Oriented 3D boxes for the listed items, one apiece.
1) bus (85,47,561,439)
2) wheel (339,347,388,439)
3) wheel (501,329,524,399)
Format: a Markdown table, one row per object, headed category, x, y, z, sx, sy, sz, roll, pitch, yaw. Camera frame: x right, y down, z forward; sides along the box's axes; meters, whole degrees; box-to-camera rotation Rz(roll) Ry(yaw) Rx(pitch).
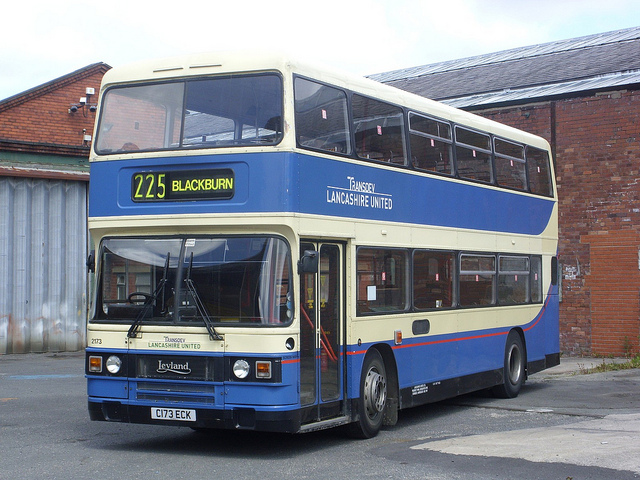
| category | x | y | z | sx | sy | sz | roll | pitch | yaw |
| --- | --- | --- | --- | --- | --- | --- | --- | --- | --- |
| bus | 0.721 | 0.344 | 13.209 | 4.204 | 5.686 | 11.811 | -2 | -4 | 35 |
| wheel | 0.617 | 2.251 | 9.293 | 0.585 | 1.564 | 1.336 | -4 | -4 | 23 |
| wheel | 4.205 | 2.697 | 13.772 | 0.419 | 1.432 | 1.357 | -5 | -8 | 24 |
